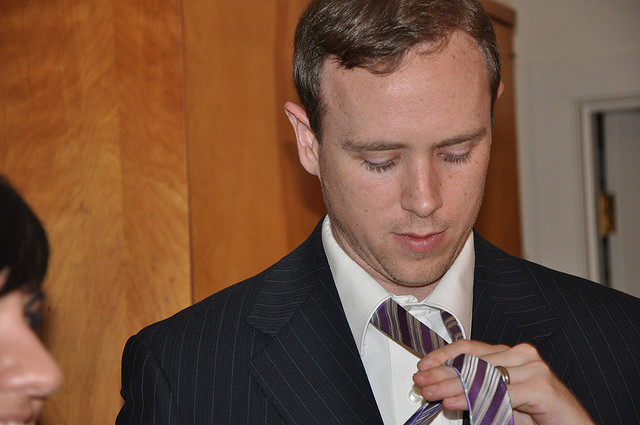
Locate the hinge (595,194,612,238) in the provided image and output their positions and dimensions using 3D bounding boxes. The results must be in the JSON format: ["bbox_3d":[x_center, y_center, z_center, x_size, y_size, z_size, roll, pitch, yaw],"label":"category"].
[{"bbox_3d":[1.158,0.019,2.688,0.062,0.149,0.067,1,30,21],"label":"hinge"}]

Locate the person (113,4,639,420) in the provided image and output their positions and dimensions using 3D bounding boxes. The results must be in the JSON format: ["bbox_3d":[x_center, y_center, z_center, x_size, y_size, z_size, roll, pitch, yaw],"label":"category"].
[{"bbox_3d":[0.115,0.002,2.085,1.155,1.056,0.582,-2,5,-8],"label":"person"}]

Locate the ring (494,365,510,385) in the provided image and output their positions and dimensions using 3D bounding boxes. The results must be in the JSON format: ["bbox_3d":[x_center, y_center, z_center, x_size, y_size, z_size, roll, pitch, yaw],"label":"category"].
[{"bbox_3d":[0.489,0.426,1.744,0.028,0.045,0.039,-17,14,-23],"label":"ring"}]
